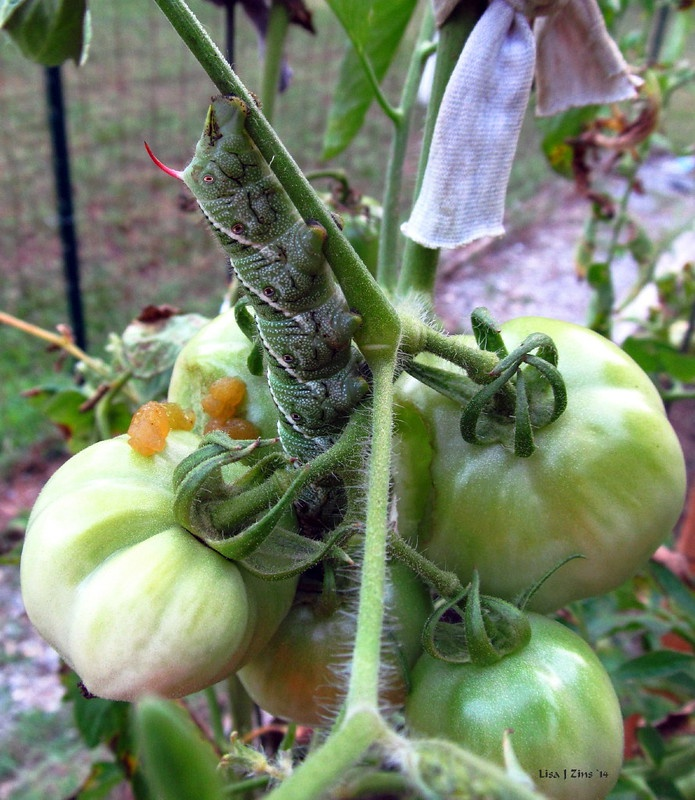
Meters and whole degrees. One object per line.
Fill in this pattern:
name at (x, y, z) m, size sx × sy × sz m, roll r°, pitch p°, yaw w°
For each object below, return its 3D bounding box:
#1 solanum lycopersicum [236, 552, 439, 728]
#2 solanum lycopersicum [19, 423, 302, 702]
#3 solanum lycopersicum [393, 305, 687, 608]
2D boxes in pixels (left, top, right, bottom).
solanum lycopersicum at (0.005, 0.166, 0.637) m, size 0.140 × 0.131 × 0.120 m, roll 4°, pitch 58°, yaw 3°
solanum lycopersicum at (-0.101, 0.110, 0.545) m, size 0.165 × 0.157 × 0.098 m, roll 7°, pitch 32°, yaw 11°
solanum lycopersicum at (0.132, 0.053, 0.656) m, size 0.206 × 0.193 × 0.193 m, roll -15°, pitch 44°, yaw 42°
